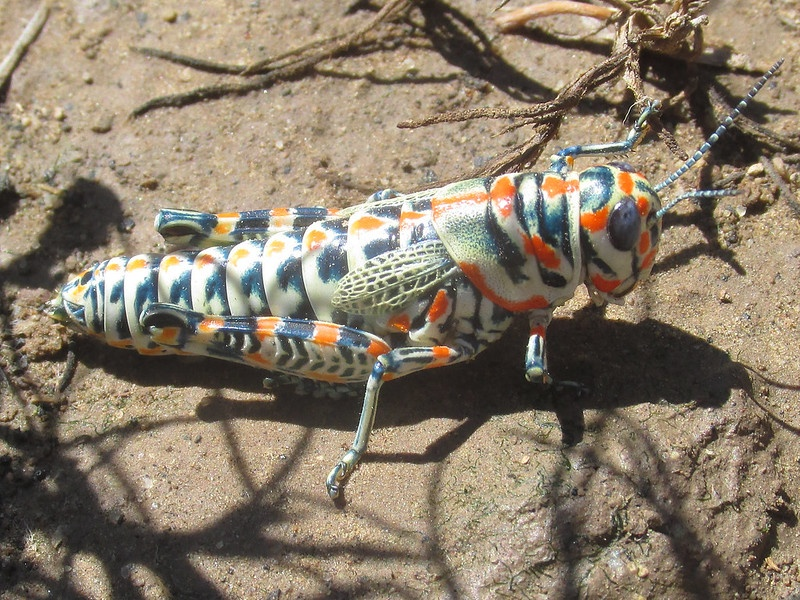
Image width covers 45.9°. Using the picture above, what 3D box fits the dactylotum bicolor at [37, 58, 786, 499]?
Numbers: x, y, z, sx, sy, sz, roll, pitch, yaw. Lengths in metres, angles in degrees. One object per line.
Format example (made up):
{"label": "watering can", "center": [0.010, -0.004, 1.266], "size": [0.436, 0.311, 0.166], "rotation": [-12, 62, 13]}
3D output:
{"label": "dactylotum bicolor", "center": [-0.001, -0.171, 5.447], "size": [3.749, 1.211, 2.276], "rotation": [-17, 56, 10]}
